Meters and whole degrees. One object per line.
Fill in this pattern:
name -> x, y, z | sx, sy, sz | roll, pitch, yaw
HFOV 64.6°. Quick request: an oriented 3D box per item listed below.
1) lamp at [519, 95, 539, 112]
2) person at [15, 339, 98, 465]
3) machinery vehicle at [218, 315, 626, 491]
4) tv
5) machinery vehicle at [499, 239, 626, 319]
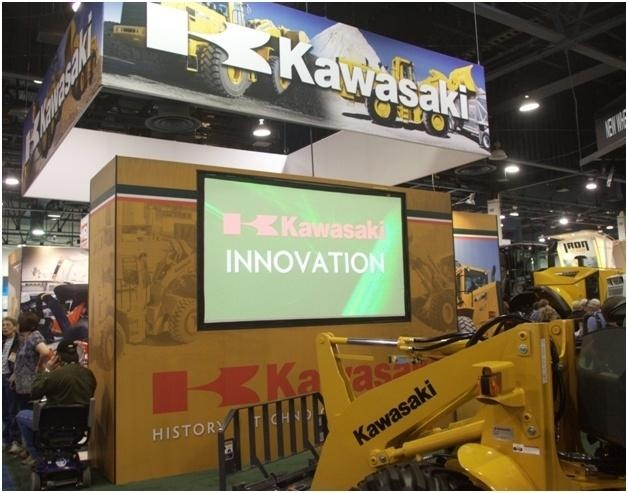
lamp -> 4.381, -2.931, 10.133 | 0.443, 0.336, 0.499 | -2, 7, 9
person -> -2.588, 1.595, 5.066 | 0.672, 1.249, 0.616 | -2, -6, 19
machinery vehicle -> 0.639, 1.181, 3.669 | 2.369, 1.255, 1.371 | -6, -12, 35
tv -> -0.044, 0.099, 5.886 | 2.688, 1.751, 0.046 | 2, -7, -21
machinery vehicle -> 4.913, 0.705, 10.426 | 1.344, 1.607, 2.410 | 2, -4, -29
